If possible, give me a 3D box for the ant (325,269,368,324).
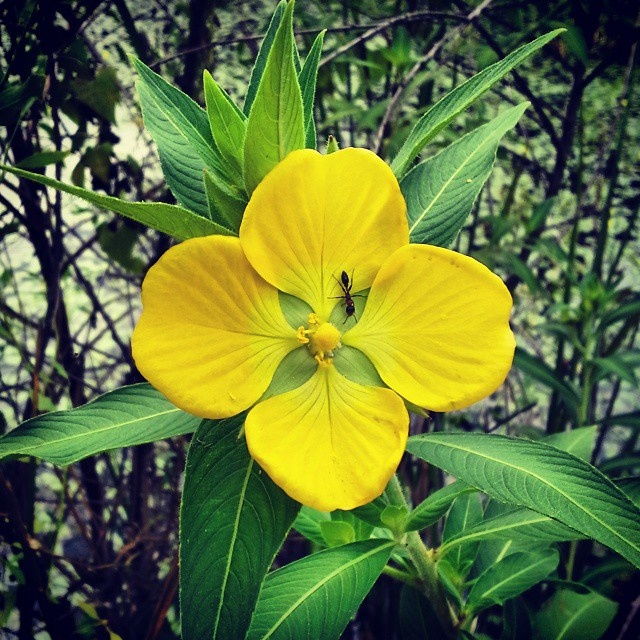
[{"bbox_3d":[0.059,-0.058,1.804,0.071,0.102,0.071,-6,32,-14],"label":"ant"}]

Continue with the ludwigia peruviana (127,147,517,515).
[{"bbox_3d":[0.010,0.022,1.731,0.801,0.786,0.216,-8,-1,-4],"label":"ludwigia peruviana"}]
